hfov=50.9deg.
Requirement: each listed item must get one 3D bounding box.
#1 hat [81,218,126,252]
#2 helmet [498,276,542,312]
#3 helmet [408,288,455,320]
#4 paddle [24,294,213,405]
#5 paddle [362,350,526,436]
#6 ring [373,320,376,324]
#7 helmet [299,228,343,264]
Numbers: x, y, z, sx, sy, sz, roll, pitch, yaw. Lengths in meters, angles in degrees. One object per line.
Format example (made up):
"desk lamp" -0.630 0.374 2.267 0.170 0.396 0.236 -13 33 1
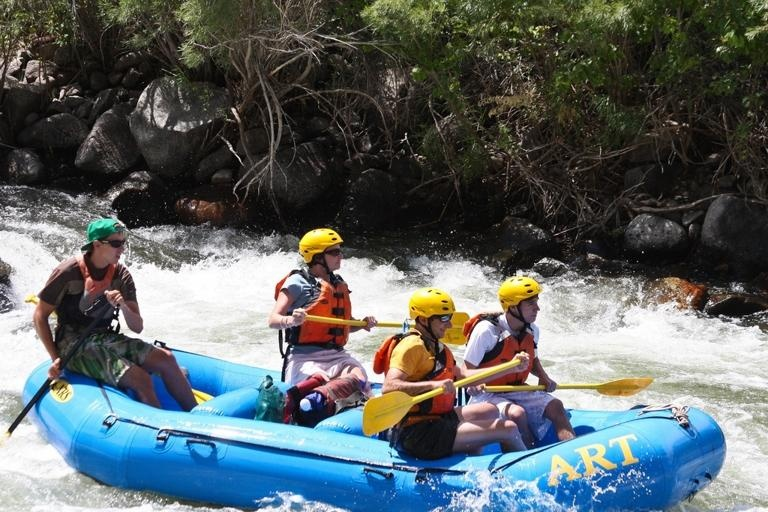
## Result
"hat" -2.738 -0.242 7.796 0.375 0.194 0.257 -26 2 -14
"helmet" 1.297 0.347 7.588 0.422 0.335 0.319 5 20 35
"helmet" 0.447 0.463 7.312 0.337 0.216 0.261 14 3 16
"paddle" -2.704 1.030 8.224 1.867 0.343 1.045 38 14 4
"paddle" 0.585 1.236 7.215 2.081 0.375 0.096 -18 24 -16
"ring" -0.088 0.655 8.059 0.035 0.035 0.010 -1 -1 -19
"helmet" -0.661 -0.106 8.230 0.433 0.342 0.339 0 11 11
